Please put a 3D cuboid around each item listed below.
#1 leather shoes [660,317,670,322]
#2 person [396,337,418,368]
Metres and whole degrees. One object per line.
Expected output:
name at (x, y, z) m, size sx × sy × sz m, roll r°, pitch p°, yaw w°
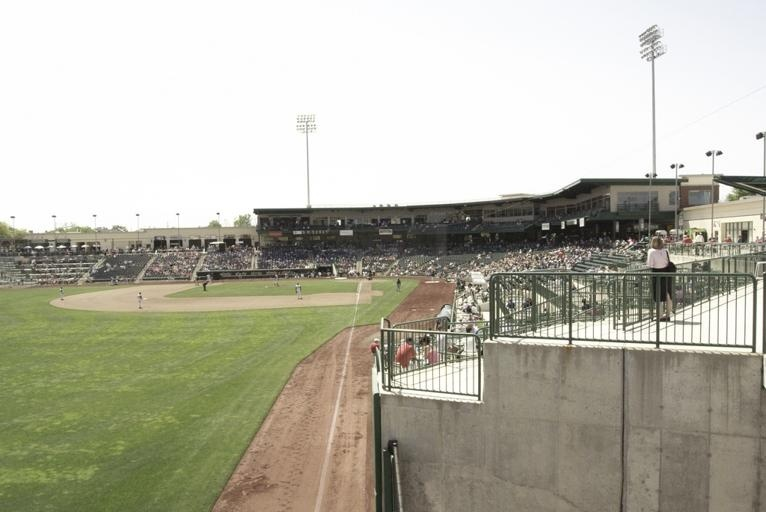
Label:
leather shoes at (9.154, 2.122, 23.985) m, size 0.182 × 0.104 × 0.320 m, roll -2°, pitch -4°, yaw 0°
person at (0.782, 3.482, 25.418) m, size 0.741 × 1.209 × 1.564 m, roll -11°, pitch 7°, yaw 4°
